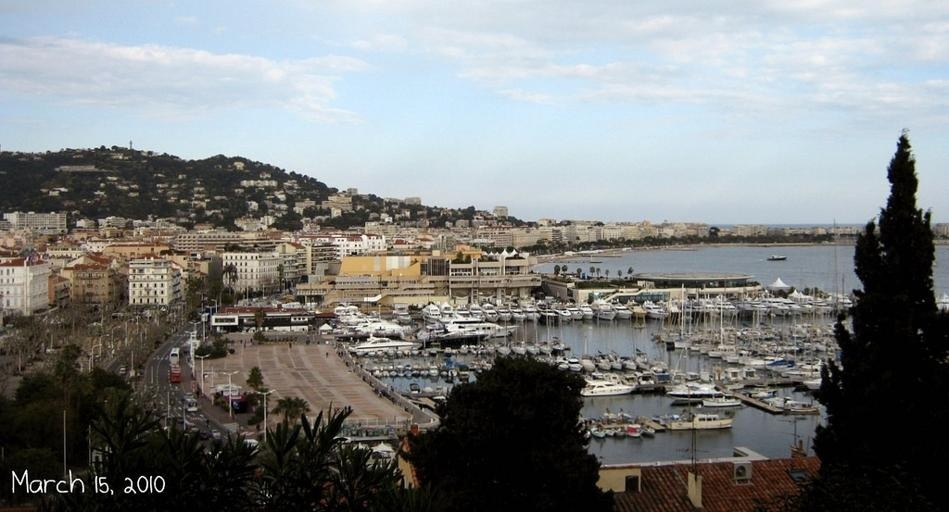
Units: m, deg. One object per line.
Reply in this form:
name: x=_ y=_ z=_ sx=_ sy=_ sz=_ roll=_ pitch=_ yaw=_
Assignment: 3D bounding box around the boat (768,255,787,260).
boat: x=62.805 y=0.034 z=195.861 sx=1.873 sy=1.100 sz=4.804 roll=-1 pitch=-1 yaw=-8
